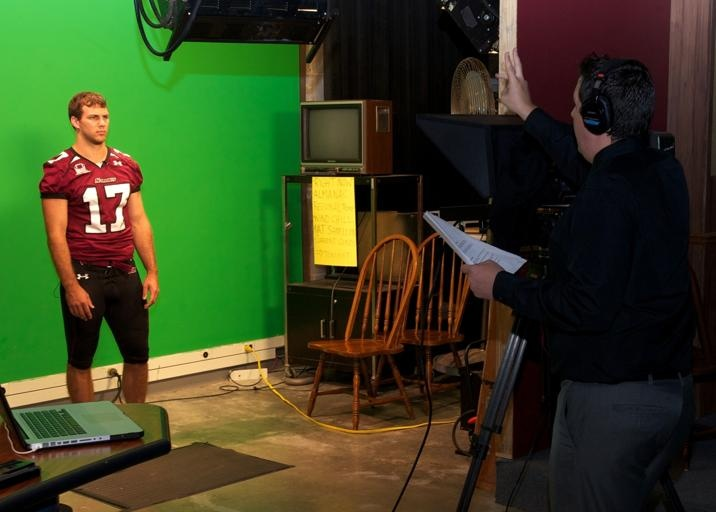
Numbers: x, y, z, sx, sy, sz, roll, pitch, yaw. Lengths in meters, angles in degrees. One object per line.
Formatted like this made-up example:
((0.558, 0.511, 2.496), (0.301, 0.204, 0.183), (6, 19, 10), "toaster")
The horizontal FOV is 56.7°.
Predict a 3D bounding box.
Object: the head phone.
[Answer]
((0.750, -0.463, 1.959), (0.204, 0.222, 0.217), (15, 25, 41), "head phone")

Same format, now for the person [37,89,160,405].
((-1.471, -0.023, 3.810), (0.636, 1.809, 0.385), (-5, 7, -33), "person")
